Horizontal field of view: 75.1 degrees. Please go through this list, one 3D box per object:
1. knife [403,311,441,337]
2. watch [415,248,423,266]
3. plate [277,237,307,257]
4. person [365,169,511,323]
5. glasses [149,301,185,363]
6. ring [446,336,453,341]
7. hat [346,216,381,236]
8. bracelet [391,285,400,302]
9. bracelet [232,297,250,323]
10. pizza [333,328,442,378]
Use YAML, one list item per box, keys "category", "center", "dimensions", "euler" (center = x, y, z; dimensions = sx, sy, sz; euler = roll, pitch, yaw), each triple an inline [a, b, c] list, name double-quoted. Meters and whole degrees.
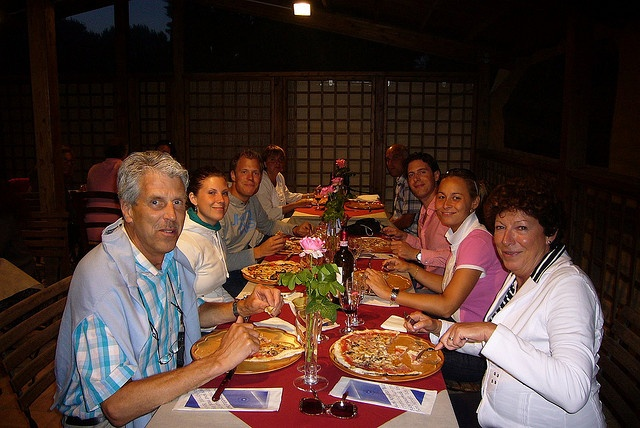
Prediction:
- category: "knife"
  center: [0.527, 0.544, 2.191]
  dimensions: [0.228, 0.138, 0.134]
  euler: [-4, -2, -6]
- category: "watch"
  center: [0.809, 0.360, 3.448]
  dimensions: [0.070, 0.111, 0.107]
  euler: [3, 3, 12]
- category: "plate"
  center: [-0.224, 0.277, 3.545]
  dimensions: [0.171, 0.025, 0.177]
  euler: [9, 31, 16]
- category: "person"
  center: [0.724, 0.231, 3.104]
  dimensions: [1.034, 1.495, 0.858]
  euler: [-1, 24, 11]
- category: "glasses"
  center: [-0.753, 0.622, 2.120]
  dimensions: [0.183, 0.271, 0.093]
  euler: [-4, 5, -27]
- category: "ring"
  center: [0.552, 0.529, 1.770]
  dimensions: [0.020, 0.007, 0.021]
  euler: [-6, 8, 1]
- category: "hat"
  center: [0.471, 0.137, 4.431]
  dimensions: [0.292, 0.112, 0.213]
  euler: [2, 7, -6]
- category: "bracelet"
  center: [0.437, 0.467, 2.453]
  dimensions: [0.048, 0.073, 0.075]
  euler: [16, 22, 17]
- category: "bracelet"
  center: [-0.434, 0.527, 2.278]
  dimensions: [0.099, 0.144, 0.049]
  euler: [0, 7, 10]
- category: "pizza"
  center: [0.300, 0.675, 1.983]
  dimensions: [0.254, 0.032, 0.267]
  euler: [-3, 15, -13]
